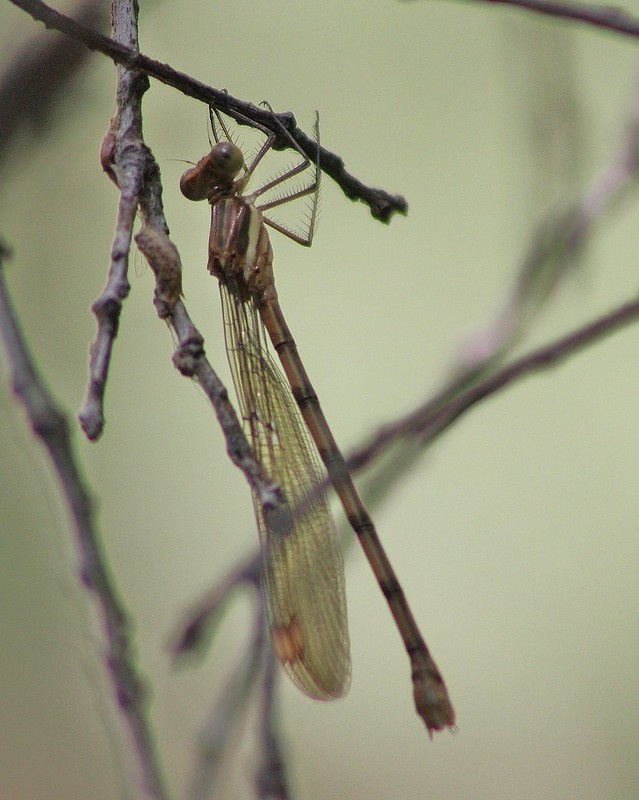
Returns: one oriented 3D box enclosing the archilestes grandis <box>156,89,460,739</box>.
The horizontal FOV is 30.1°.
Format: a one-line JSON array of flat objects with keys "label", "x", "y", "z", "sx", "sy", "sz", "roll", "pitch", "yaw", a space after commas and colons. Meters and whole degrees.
[{"label": "archilestes grandis", "x": -0.013, "y": 0.011, "z": 1.171, "sx": 0.192, "sy": 0.171, "sz": 0.687, "roll": -5, "pitch": 73, "yaw": -9}]
